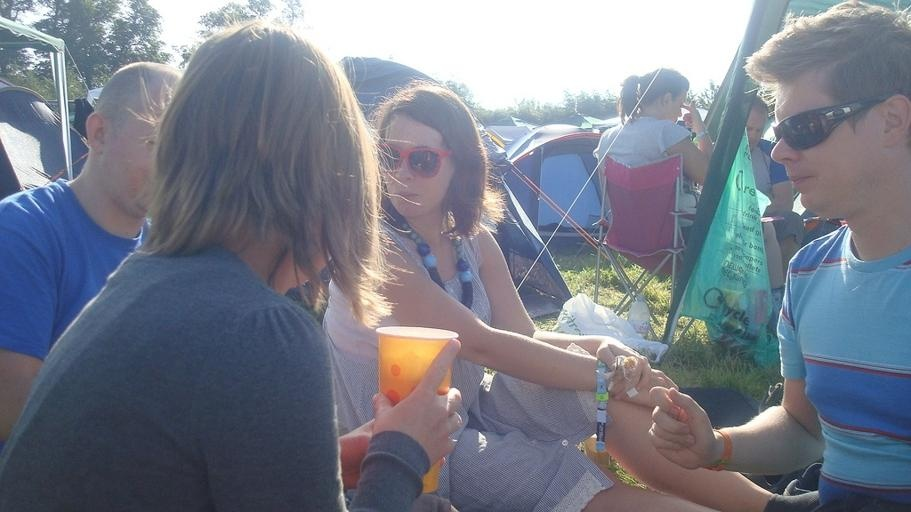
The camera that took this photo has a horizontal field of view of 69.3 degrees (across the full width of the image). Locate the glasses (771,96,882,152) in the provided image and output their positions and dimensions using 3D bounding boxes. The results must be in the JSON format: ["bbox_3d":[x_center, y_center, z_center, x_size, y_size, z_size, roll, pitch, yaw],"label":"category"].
[{"bbox_3d":[1.489,-0.540,2.672,0.235,0.071,0.215,-22,0,6],"label":"glasses"}]

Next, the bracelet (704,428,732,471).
[{"bbox_3d":[1.102,0.818,2.833,0.157,0.167,0.122,4,-9,16],"label":"bracelet"}]

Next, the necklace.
[{"bbox_3d":[-0.133,-0.021,3.411,0.113,0.630,0.380,-40,-9,33],"label":"necklace"}]

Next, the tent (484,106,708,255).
[{"bbox_3d":[1.298,-1.135,9.163,2.147,2.180,1.449,1,4,-4],"label":"tent"}]
